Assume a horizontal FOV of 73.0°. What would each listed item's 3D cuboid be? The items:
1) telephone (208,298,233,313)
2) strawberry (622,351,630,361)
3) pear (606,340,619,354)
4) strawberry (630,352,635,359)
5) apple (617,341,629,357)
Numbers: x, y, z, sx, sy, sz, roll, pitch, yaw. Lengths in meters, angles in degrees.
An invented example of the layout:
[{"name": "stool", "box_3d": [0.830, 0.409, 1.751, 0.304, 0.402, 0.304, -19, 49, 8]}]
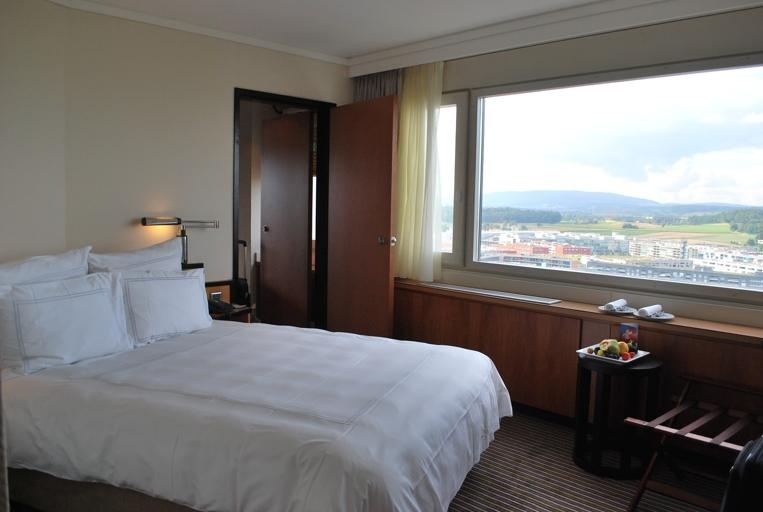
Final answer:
[{"name": "telephone", "box_3d": [-1.475, 0.460, 4.713, 0.155, 0.075, 0.124, 2, 7, 18]}, {"name": "strawberry", "box_3d": [1.826, 0.746, 3.808, 0.093, 0.049, 0.053, -3, 9, -23]}, {"name": "pear", "box_3d": [1.744, 0.688, 3.838, 0.088, 0.085, 0.079, 6, 10, 36]}, {"name": "strawberry", "box_3d": [1.885, 0.743, 3.844, 0.034, 0.038, 0.038, 15, 18, 30]}, {"name": "apple", "box_3d": [1.811, 0.696, 3.826, 0.088, 0.114, 0.091, 2, 5, 2]}]
